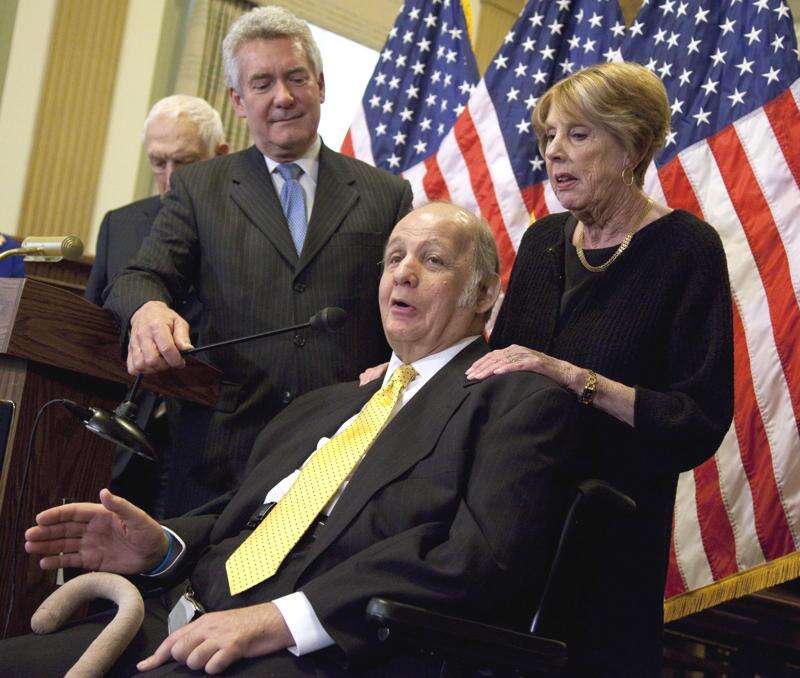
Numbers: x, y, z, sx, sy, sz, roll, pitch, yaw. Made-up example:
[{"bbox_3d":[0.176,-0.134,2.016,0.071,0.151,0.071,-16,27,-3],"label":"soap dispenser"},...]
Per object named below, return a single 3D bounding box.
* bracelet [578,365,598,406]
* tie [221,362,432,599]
[{"bbox_3d":[0.513,0.129,2.164,0.049,0.088,0.041,6,2,1],"label":"bracelet"},{"bbox_3d":[-0.182,0.364,2.007,0.091,0.040,0.705,10,49,43],"label":"tie"}]
